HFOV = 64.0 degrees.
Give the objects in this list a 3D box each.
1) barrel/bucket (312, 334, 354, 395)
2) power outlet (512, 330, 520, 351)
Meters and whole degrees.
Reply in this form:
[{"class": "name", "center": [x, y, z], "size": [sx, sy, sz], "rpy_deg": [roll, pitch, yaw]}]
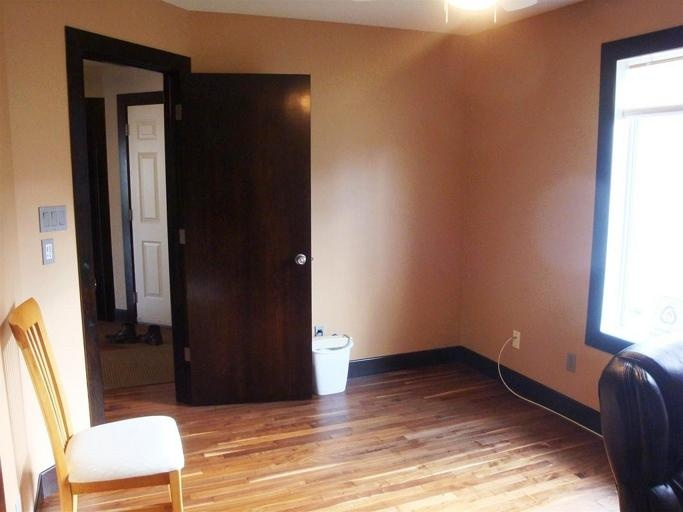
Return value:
[{"class": "barrel/bucket", "center": [-0.079, 0.835, 4.198], "size": [0.301, 0.381, 0.264], "rpy_deg": [0, 14, -3]}, {"class": "power outlet", "center": [1.310, 0.633, 4.124], "size": [0.017, 0.145, 0.096], "rpy_deg": [-4, 15, -21]}]
